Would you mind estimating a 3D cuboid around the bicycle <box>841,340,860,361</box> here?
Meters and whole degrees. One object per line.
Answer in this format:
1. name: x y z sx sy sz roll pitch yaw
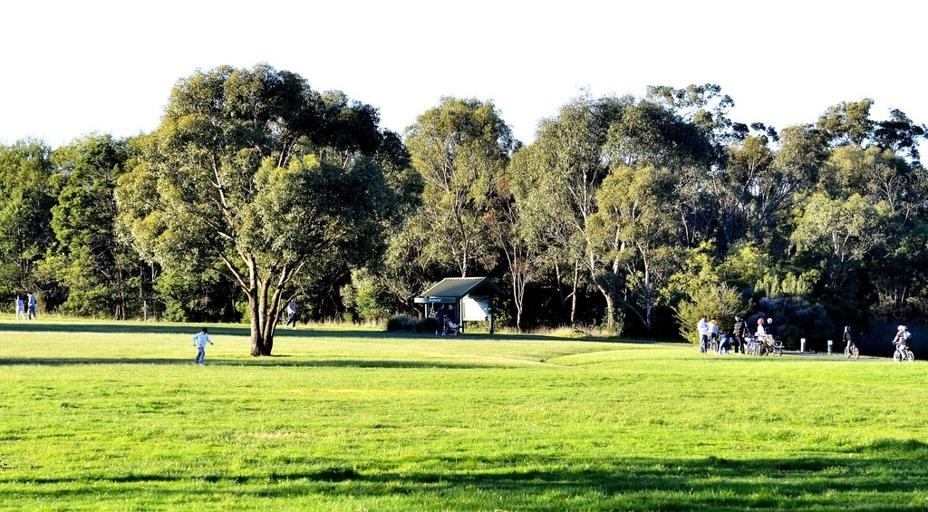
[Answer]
1. bicycle: 35.715 8.614 127.406 1.188 1.524 2.443 1 1 2
